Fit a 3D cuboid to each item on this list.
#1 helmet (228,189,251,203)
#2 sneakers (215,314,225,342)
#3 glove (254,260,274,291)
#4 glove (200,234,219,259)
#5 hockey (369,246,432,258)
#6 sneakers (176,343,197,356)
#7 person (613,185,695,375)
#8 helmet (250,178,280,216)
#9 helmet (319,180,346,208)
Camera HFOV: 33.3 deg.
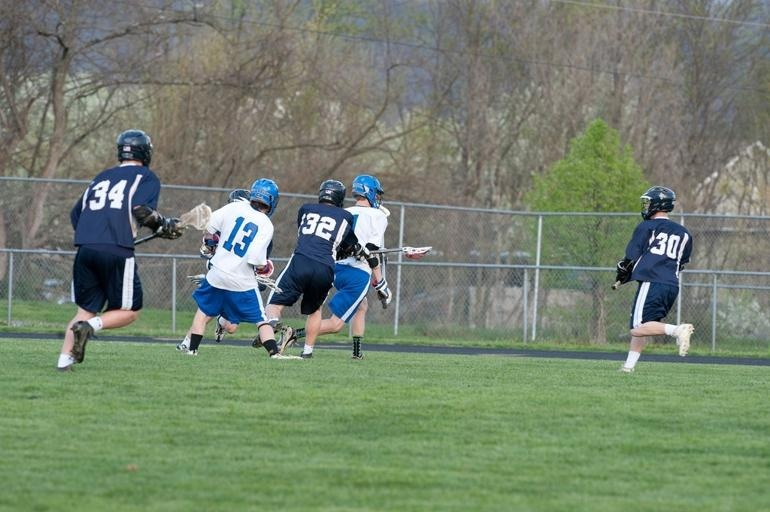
[{"bbox_3d":[-2.841,-1.185,25.023,0.431,0.428,0.352,1,4,-17],"label":"helmet"},{"bbox_3d":[-3.249,1.438,25.151,0.220,0.608,0.267,-3,12,-21],"label":"sneakers"},{"bbox_3d":[-2.375,0.355,24.998,0.294,0.337,0.813,11,-25,6],"label":"glove"},{"bbox_3d":[-3.340,-0.196,24.248,0.321,0.484,0.201,4,11,0],"label":"glove"},{"bbox_3d":[0.293,-0.095,27.110,1.574,0.189,0.167,-4,-4,-18],"label":"hockey"},{"bbox_3d":[-3.741,1.765,24.147,0.475,0.193,0.178,20,15,39],"label":"sneakers"},{"bbox_3d":[5.075,0.417,24.272,1.359,3.520,0.632,3,-3,11],"label":"person"},{"bbox_3d":[-2.279,-1.167,24.237,0.508,0.575,0.657,12,19,8],"label":"helmet"},{"bbox_3d":[-1.026,-1.216,24.448,0.441,0.461,0.533,10,5,9],"label":"helmet"}]
